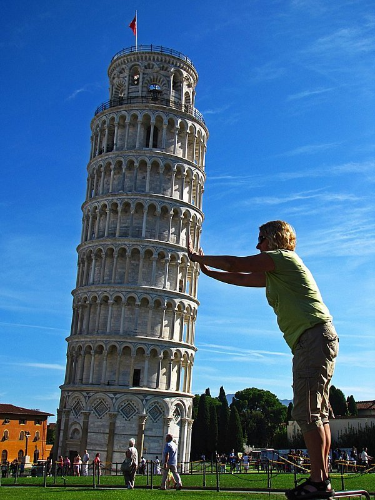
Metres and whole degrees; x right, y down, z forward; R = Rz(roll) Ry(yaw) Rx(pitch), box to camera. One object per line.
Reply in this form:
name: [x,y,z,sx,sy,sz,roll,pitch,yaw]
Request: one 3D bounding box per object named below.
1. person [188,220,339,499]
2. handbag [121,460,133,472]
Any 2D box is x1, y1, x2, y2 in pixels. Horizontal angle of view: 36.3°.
person: [0.659,0.803,3.966,0.792,1.719,0.417,-3,-23,7]
handbag: [-1.833,6.633,17.494,0.323,0.355,0.407,1,-21,-5]
